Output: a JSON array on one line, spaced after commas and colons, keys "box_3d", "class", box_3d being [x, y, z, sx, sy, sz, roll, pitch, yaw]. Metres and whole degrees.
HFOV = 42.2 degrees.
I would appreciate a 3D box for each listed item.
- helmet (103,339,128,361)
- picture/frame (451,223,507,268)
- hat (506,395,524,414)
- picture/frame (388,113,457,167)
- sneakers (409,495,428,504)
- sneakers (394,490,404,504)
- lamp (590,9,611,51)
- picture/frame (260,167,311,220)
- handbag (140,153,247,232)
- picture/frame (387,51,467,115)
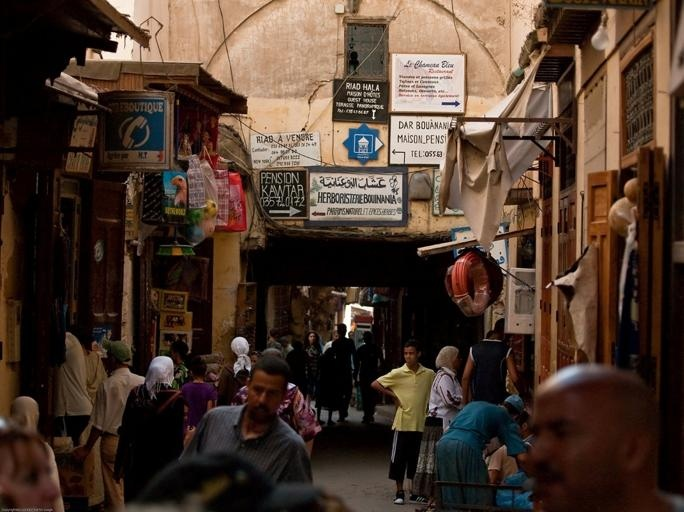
[{"box_3d": [-2.252, 0.977, 8.991, 0.209, 0.218, 0.252, 6, -8, -21], "class": "helmet"}, {"box_3d": [1.876, -0.127, 12.060, 0.596, 0.714, 0.049, 0, 7, -3], "class": "picture/frame"}, {"box_3d": [1.652, 1.393, 8.426, 0.170, 0.094, 0.126, 49, -17, -32], "class": "hat"}, {"box_3d": [1.395, -1.967, 15.244, 1.397, 1.177, 0.209, 0, 0, 5], "class": "picture/frame"}, {"box_3d": [0.914, 2.933, 10.649, 0.238, 0.091, 0.182, 1, -8, 14], "class": "sneakers"}, {"box_3d": [0.687, 2.892, 10.615, 0.135, 0.148, 0.291, 3, -8, 5], "class": "sneakers"}, {"box_3d": [2.239, -1.934, 7.623, 0.138, 0.345, 0.144, -6, 25, -16], "class": "lamp"}, {"box_3d": [-1.019, -1.163, 16.373, 0.805, 0.924, 0.120, 0, 4, 4], "class": "picture/frame"}, {"box_3d": [-1.911, -0.788, 12.869, 0.463, 1.284, 2.006, -3, -9, 19], "class": "handbag"}, {"box_3d": [1.554, -3.163, 16.499, 1.048, 0.919, 0.121, 1, -20, -2], "class": "picture/frame"}]
